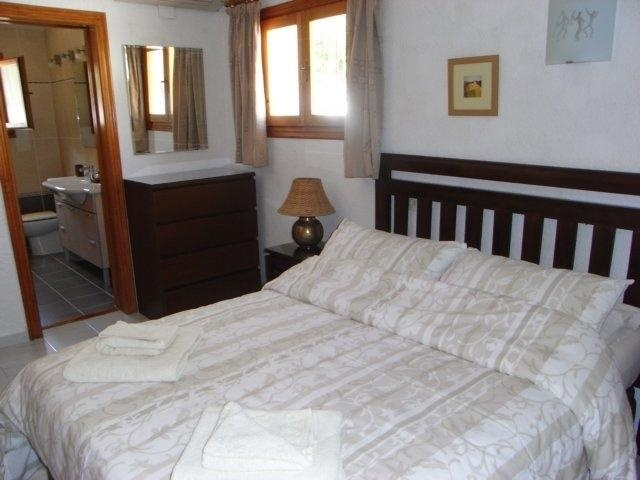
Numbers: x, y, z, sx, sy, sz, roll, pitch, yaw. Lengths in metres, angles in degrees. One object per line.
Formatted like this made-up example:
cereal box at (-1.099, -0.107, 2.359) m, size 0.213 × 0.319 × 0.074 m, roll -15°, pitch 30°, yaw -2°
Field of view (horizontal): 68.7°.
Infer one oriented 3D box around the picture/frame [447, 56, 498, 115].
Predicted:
picture/frame at (0.907, -0.922, 2.763) m, size 0.342 × 0.355 × 0.023 m, roll 11°, pitch 17°, yaw 43°

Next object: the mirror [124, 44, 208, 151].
mirror at (-1.356, -1.252, 4.037) m, size 0.855 × 1.062 × 0.102 m, roll -10°, pitch 19°, yaw -30°

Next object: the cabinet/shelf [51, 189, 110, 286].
cabinet/shelf at (-2.424, -0.166, 4.944) m, size 0.912 × 0.789 × 0.378 m, roll 12°, pitch 23°, yaw 40°

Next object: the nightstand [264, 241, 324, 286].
nightstand at (-0.206, 0.119, 3.625) m, size 0.296 × 0.439 × 0.406 m, roll -17°, pitch 28°, yaw -34°

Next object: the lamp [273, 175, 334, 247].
lamp at (-0.094, -0.245, 3.648) m, size 0.468 × 0.576 × 0.449 m, roll -9°, pitch 16°, yaw -32°

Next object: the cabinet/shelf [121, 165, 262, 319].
cabinet/shelf at (-0.915, 0.104, 4.227) m, size 0.937 × 1.173 × 0.572 m, roll -9°, pitch -9°, yaw 4°
